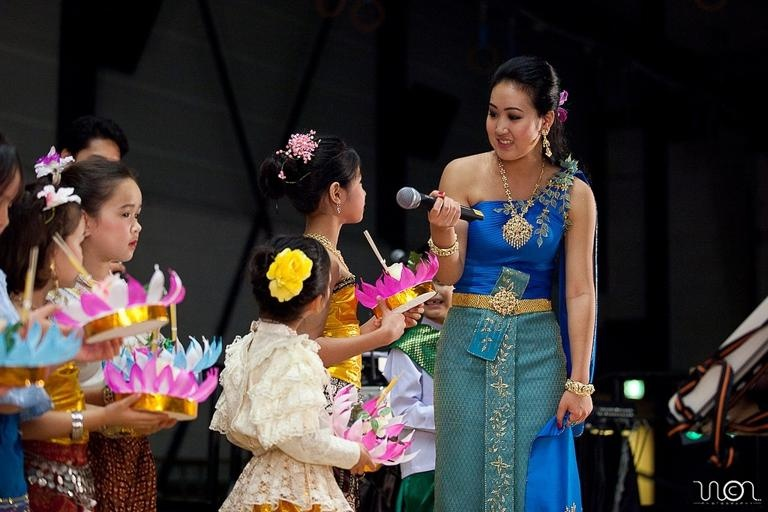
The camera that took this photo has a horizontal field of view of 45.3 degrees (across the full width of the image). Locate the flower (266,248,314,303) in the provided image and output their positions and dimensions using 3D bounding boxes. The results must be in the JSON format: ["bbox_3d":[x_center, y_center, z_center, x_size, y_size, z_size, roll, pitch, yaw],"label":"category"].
[{"bbox_3d":[-0.406,0.061,3.824,0.176,0.157,0.087,24,-40,-1],"label":"flower"}]

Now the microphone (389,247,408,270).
[{"bbox_3d":[0.075,0.011,5.540,0.135,0.143,0.145,-1,4,1],"label":"microphone"}]

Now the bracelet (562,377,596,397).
[{"bbox_3d":[0.892,0.594,4.175,0.094,0.043,0.081,6,1,-13],"label":"bracelet"}]

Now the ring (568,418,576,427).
[{"bbox_3d":[0.858,0.765,4.203,0.040,0.021,0.091,-1,-20,19],"label":"ring"}]

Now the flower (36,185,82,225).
[{"bbox_3d":[-1.404,-0.209,3.891,0.129,0.078,0.139,-13,4,27],"label":"flower"}]

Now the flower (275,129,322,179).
[{"bbox_3d":[-0.383,-0.459,4.396,0.190,0.241,0.062,22,3,21],"label":"flower"}]
